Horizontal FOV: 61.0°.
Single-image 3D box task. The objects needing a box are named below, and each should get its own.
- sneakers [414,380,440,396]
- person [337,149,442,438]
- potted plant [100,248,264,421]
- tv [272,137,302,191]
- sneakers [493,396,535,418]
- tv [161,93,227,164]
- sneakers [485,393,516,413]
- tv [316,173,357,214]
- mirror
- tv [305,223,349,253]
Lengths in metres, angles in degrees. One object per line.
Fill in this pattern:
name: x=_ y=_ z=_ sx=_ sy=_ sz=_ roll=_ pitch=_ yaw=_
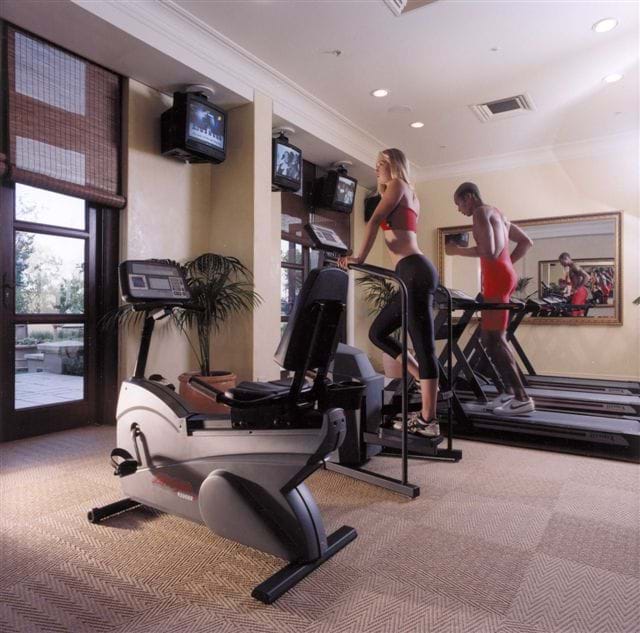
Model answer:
sneakers: x=0.575 y=0.379 z=2.912 sx=0.106 sy=0.106 sz=0.118 roll=1 pitch=-5 yaw=-38
person: x=0.429 y=-0.146 z=2.953 sx=0.455 sy=1.559 sz=0.687 roll=1 pitch=6 yaw=12
potted plant: x=-1.054 y=0.074 z=4.176 sx=0.987 sy=0.880 sz=1.014 roll=-2 pitch=-2 yaw=23
tv: x=-0.346 y=-1.446 z=5.086 sx=0.206 sy=0.519 sz=0.451 roll=3 pitch=7 yaw=26
sneakers: x=1.306 y=0.616 z=3.649 sx=0.321 sy=0.133 sz=0.110 roll=0 pitch=-6 yaw=2
tv: x=-0.981 y=-1.482 z=4.211 sx=0.513 sy=0.519 sz=0.344 roll=-2 pitch=6 yaw=-16
sneakers: x=1.209 y=0.587 z=3.720 sx=0.213 sy=0.086 sz=0.080 roll=-15 pitch=-4 yaw=37
tv: x=0.195 y=-1.320 z=6.269 sx=0.392 sy=0.513 sz=0.572 roll=12 pitch=9 yaw=30
mirror: x=2.958 y=-0.398 z=6.209 sx=0.611 sy=0.910 sz=0.038 roll=-2 pitch=-6 yaw=23
tv: x=0.043 y=-0.379 z=2.697 sx=0.197 sy=0.147 sz=0.333 roll=1 pitch=6 yaw=12
